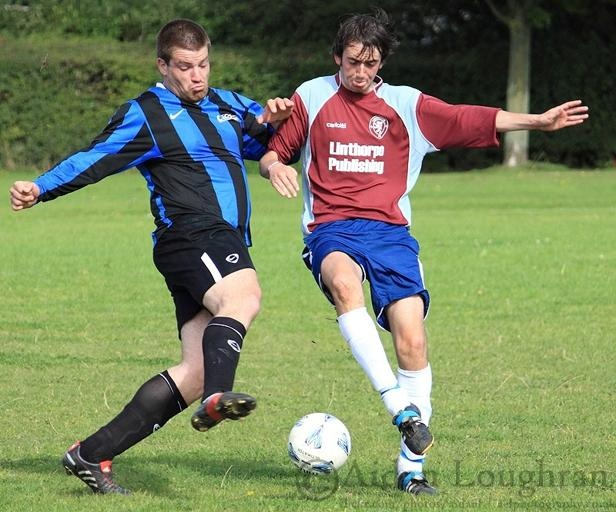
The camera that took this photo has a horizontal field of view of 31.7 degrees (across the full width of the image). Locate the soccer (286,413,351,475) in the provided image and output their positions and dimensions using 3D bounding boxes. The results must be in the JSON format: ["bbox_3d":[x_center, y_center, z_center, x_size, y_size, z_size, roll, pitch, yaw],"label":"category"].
[{"bbox_3d":[0.057,1.071,6.156,0.324,0.248,0.337,33,18,22],"label":"soccer"}]

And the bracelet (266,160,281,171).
[{"bbox_3d":[-0.200,-0.534,6.350,0.061,0.024,0.055,-43,6,-5],"label":"bracelet"}]

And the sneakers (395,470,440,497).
[{"bbox_3d":[0.611,1.274,6.050,0.101,0.083,0.194,0,-2,-31],"label":"sneakers"}]

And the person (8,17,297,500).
[{"bbox_3d":[-0.731,0.027,5.984,1.505,2.573,1.131,-4,14,-19],"label":"person"}]

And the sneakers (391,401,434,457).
[{"bbox_3d":[0.573,0.986,5.956,0.203,0.321,0.209,0,13,-1],"label":"sneakers"}]
